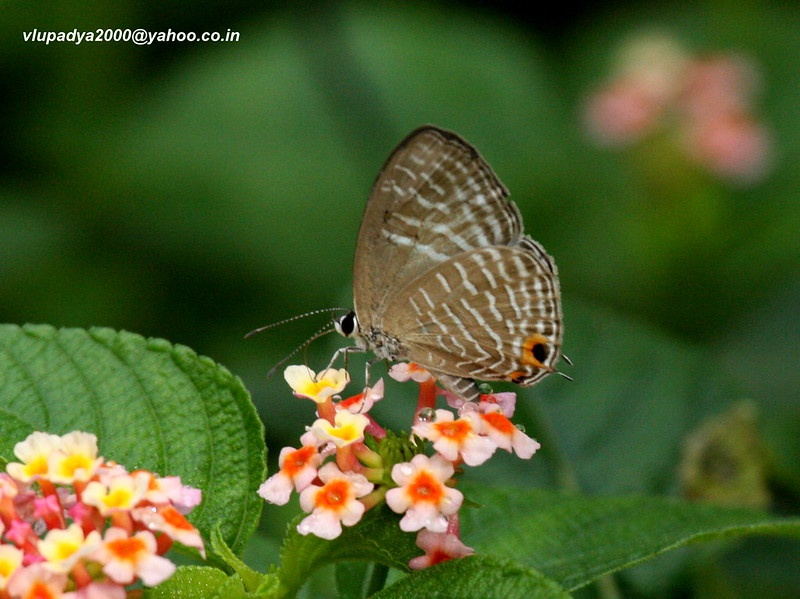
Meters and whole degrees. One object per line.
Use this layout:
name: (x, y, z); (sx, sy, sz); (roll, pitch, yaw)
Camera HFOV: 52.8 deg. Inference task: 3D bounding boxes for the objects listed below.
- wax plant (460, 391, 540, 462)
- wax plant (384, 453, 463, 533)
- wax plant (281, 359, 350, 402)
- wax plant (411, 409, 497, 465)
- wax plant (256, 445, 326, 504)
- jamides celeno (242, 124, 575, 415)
wax plant: (0.310, 0.392, 2.544); (0.213, 0.079, 0.217); (27, 28, 32)
wax plant: (0.072, 0.578, 2.359); (0.214, 0.133, 0.217); (-5, 54, -1)
wax plant: (-0.268, 0.267, 2.575); (0.143, 0.072, 0.141); (13, 10, 32)
wax plant: (0.156, 0.388, 2.460); (0.216, 0.179, 0.324); (1, 3, -1)
wax plant: (-0.330, 0.498, 2.503); (0.217, 0.190, 0.170); (-4, 6, -44)
jamides celeno: (0.062, -0.162, 3.188); (1.235, 1.043, 0.829); (-5, 18, -15)
